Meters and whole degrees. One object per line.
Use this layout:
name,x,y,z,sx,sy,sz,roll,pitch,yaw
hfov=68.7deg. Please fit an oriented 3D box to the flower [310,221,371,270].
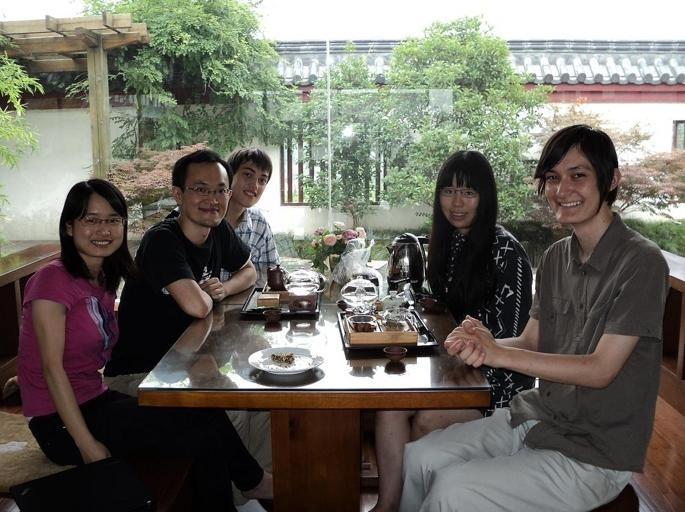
flower,0.018,-0.046,2.861,0.298,0.294,0.282,7,-9,-35

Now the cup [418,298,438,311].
cup,0.360,0.202,2.097,0.054,0.024,0.055,0,5,0

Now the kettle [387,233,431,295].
kettle,0.319,0.035,2.456,0.286,0.309,0.197,1,3,-2

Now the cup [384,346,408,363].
cup,0.164,0.314,1.603,0.050,0.022,0.050,-2,6,0

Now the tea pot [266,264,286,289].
tea pot,-0.338,0.108,2.402,0.109,0.103,0.081,-1,-1,9

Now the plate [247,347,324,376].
plate,-0.178,0.324,1.572,0.232,0.037,0.178,-2,14,-4

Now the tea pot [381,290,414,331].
tea pot,0.209,0.213,1.909,0.111,0.118,0.299,0,-3,6

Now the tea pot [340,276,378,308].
tea pot,0.066,0.150,2.065,0.118,0.097,0.137,1,9,6
